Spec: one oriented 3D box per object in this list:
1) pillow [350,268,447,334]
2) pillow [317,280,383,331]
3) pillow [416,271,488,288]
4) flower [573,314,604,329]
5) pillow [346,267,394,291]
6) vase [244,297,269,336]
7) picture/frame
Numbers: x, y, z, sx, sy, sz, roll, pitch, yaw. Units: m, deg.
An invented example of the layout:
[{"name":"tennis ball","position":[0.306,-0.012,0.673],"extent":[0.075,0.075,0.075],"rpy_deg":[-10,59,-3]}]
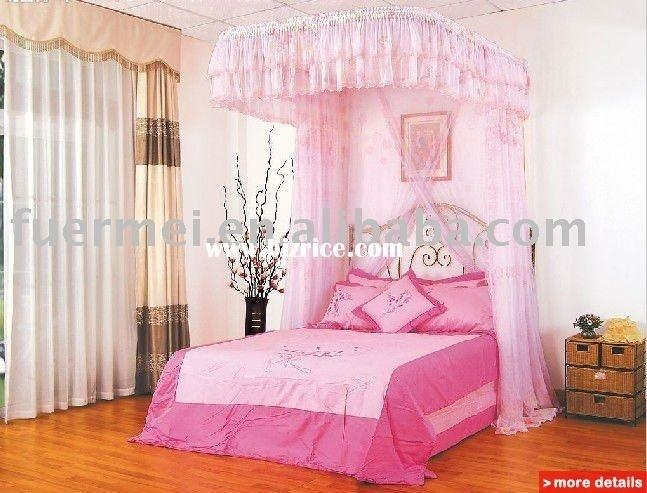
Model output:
[{"name":"pillow","position":[0.672,0.539,4.583],"extent":[0.516,0.137,0.537],"rpy_deg":[-36,38,-12]},{"name":"pillow","position":[0.222,0.557,4.821],"extent":[0.135,0.444,0.436],"rpy_deg":[39,-24,-33]},{"name":"pillow","position":[1.267,0.314,4.776],"extent":[0.396,0.165,0.045],"rpy_deg":[-7,-27,32]},{"name":"flower","position":[2.263,0.647,4.442],"extent":[0.235,0.143,0.258],"rpy_deg":[0,1,28]},{"name":"pillow","position":[0.424,0.322,5.062],"extent":[0.238,0.093,0.232],"rpy_deg":[11,13,31]},{"name":"vase","position":[-0.711,0.698,5.260],"extent":[0.228,0.416,0.224],"rpy_deg":[4,1,-29]},{"name":"picture/frame","position":[0.951,-0.940,4.873],"extent":[0.460,0.698,0.073],"rpy_deg":[1,37,14]}]
